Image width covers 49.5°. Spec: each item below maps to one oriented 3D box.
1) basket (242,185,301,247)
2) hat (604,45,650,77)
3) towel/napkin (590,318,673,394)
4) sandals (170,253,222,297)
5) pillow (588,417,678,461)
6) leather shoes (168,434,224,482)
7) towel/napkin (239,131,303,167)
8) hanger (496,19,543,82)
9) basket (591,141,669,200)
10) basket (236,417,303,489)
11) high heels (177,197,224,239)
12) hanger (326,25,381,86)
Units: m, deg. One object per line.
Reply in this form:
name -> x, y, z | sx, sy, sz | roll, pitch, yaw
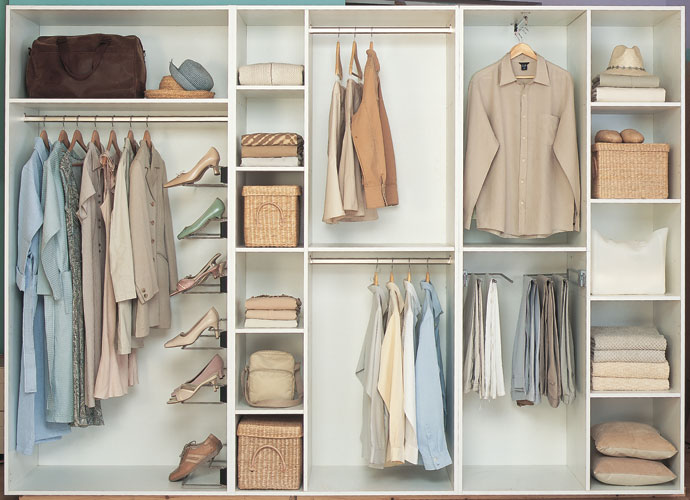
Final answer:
basket -> -0.484, -0.181, 4.766 | 0.359, 0.396, 0.230 | 0, -11, -11
hat -> 1.754, -1.179, 4.695 | 0.257, 0.198, 0.072 | -2, 3, -5
towel/napkin -> 1.777, 0.660, 4.672 | 0.376, 0.270, 0.397 | -1, 2, 4
sandals -> -0.956, 0.154, 4.817 | 0.337, 0.243, 0.264 | -3, 3, -12
pillow -> 1.832, 1.234, 4.858 | 0.498, 0.189, 0.587 | -1, 1, 16
leather shoes -> -0.966, 1.322, 4.775 | 0.336, 0.269, 0.257 | -3, 3, -24
towel/napkin -> -0.460, -0.614, 4.673 | 0.390, 0.209, 0.089 | -3, 3, -8
hanger -> 1.118, -1.264, 4.783 | 0.386, 0.480, 0.041 | -1, 3, -5
basket -> 1.925, -0.516, 4.733 | 0.270, 0.344, 0.460 | -11, 11, -30
basket -> -0.472, 1.250, 4.700 | 0.375, 0.386, 0.395 | 1, -2, -1
high heels -> -0.944, -0.206, 4.861 | 0.288, 0.130, 0.100 | -33, 11, 16
hanger -> 0.050, -1.253, 4.815 | 0.390, 0.274, 0.028 | -1, 15, 3
